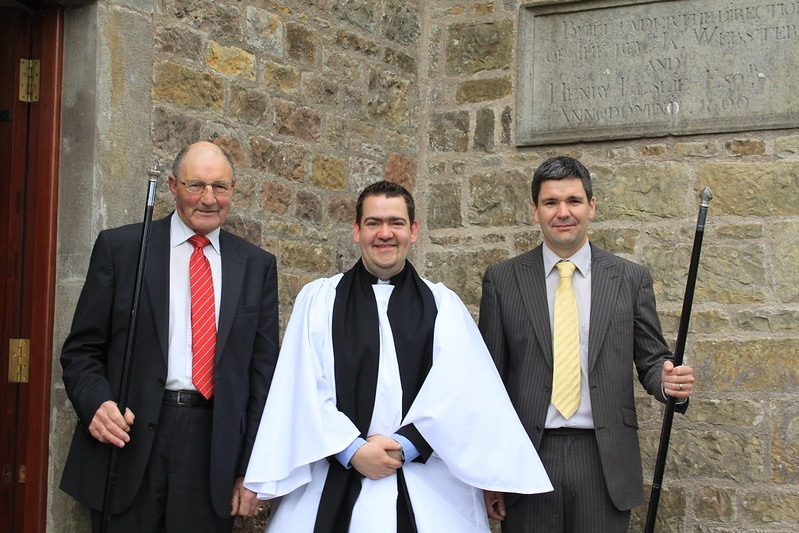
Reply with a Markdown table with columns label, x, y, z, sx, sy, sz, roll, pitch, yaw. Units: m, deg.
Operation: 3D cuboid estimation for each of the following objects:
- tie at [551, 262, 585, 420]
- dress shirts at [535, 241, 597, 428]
| label | x | y | z | sx | sy | sz | roll | pitch | yaw |
| --- | --- | --- | --- | --- | --- | --- | --- | --- | --- |
| tie | 0.822 | 0.352 | 4.101 | 0.143 | 0.748 | 0.229 | 3 | 4 | 10 |
| dress shirts | 0.812 | 0.296 | 4.049 | 0.231 | 0.987 | 0.119 | 4 | -39 | 6 |
